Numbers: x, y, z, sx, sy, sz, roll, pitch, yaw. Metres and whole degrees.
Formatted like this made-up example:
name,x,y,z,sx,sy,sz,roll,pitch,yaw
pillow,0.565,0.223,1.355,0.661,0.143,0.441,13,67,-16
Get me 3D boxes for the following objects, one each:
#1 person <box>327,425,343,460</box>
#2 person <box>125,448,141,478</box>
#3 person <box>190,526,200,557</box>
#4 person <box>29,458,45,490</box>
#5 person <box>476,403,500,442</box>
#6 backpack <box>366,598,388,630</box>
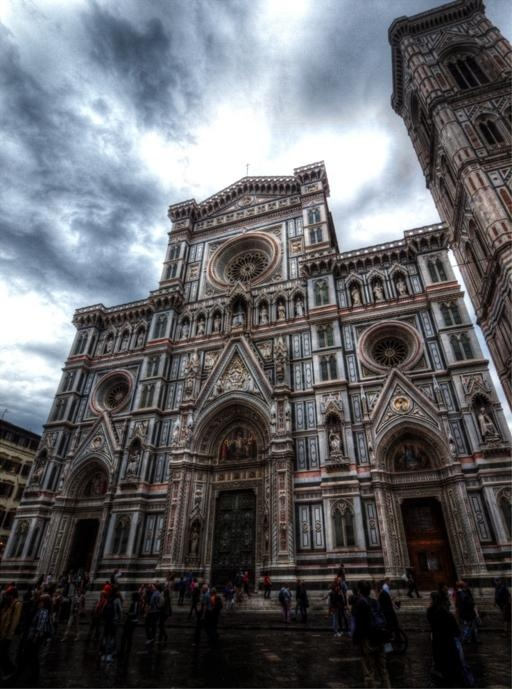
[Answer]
name,x,y,z,sx,sy,sz,roll,pitch,yaw
person,3.808,5.790,19.858,0.716,1.841,0.432,-5,-30,9
person,-7.077,8.253,23.719,0.837,2.017,0.268,-14,-33,23
person,-3.026,11.840,20.407,0.447,1.507,0.332,7,-30,-12
person,-14.050,9.971,26.433,1.171,2.306,0.292,-18,-34,29
person,9.957,4.111,17.906,0.567,2.044,0.584,19,-35,-29
backpack,1.242,3.356,4.233,0.141,0.327,0.247,-7,-30,13
